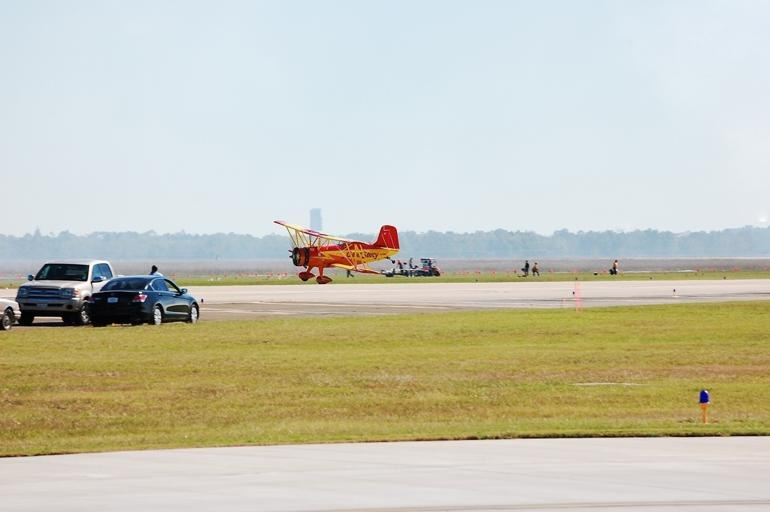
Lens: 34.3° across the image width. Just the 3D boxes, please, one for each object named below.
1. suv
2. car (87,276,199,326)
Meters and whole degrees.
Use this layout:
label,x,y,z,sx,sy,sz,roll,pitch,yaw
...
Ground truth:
label,x,y,z,sx,sy,sz,roll,pitch,yaw
suv,-10.887,1.308,43.515,1.994,1.292,3.015,-1,-4,10
car,-8.121,1.558,41.946,1.681,1.597,3.278,-1,-3,33
